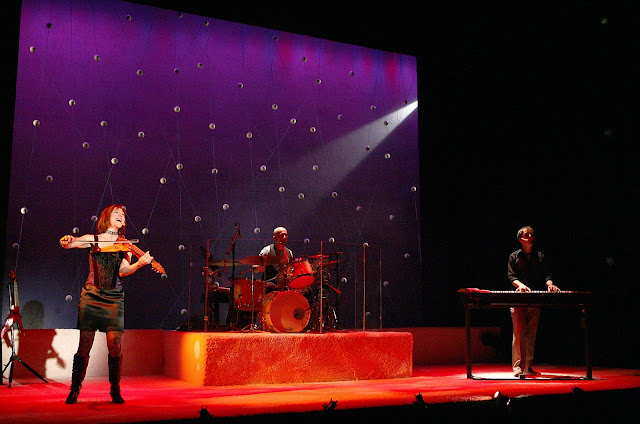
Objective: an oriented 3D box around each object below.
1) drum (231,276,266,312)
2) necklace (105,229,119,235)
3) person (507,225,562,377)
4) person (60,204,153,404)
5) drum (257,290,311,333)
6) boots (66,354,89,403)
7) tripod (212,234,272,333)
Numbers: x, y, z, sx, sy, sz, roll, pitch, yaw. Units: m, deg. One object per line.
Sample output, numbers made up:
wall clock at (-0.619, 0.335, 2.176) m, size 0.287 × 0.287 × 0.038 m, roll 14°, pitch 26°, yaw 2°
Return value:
drum at (-0.909, 1.064, 7.475) m, size 0.392 × 0.326 × 0.425 m, roll 0°, pitch -10°, yaw 0°
necklace at (-2.222, 0.219, 6.151) m, size 0.073 × 0.031 × 0.060 m, roll 12°, pitch -6°, yaw 3°
person at (2.746, 1.235, 7.655) m, size 0.569 × 2.086 × 1.355 m, roll 4°, pitch 8°, yaw 18°
person at (-2.252, 0.989, 6.007) m, size 0.752 × 2.048 × 0.804 m, roll -1°, pitch 8°, yaw -24°
drum at (-0.389, 1.311, 7.367) m, size 0.532 × 0.565 × 0.364 m, roll 2°, pitch -19°, yaw 0°
boots at (-2.523, 1.709, 5.999) m, size 0.222 × 0.530 × 0.385 m, roll -1°, pitch 8°, yaw -24°
tripod at (-0.948, 0.951, 7.501) m, size 0.909 × 1.098 × 1.064 m, roll 3°, pitch -15°, yaw -5°
